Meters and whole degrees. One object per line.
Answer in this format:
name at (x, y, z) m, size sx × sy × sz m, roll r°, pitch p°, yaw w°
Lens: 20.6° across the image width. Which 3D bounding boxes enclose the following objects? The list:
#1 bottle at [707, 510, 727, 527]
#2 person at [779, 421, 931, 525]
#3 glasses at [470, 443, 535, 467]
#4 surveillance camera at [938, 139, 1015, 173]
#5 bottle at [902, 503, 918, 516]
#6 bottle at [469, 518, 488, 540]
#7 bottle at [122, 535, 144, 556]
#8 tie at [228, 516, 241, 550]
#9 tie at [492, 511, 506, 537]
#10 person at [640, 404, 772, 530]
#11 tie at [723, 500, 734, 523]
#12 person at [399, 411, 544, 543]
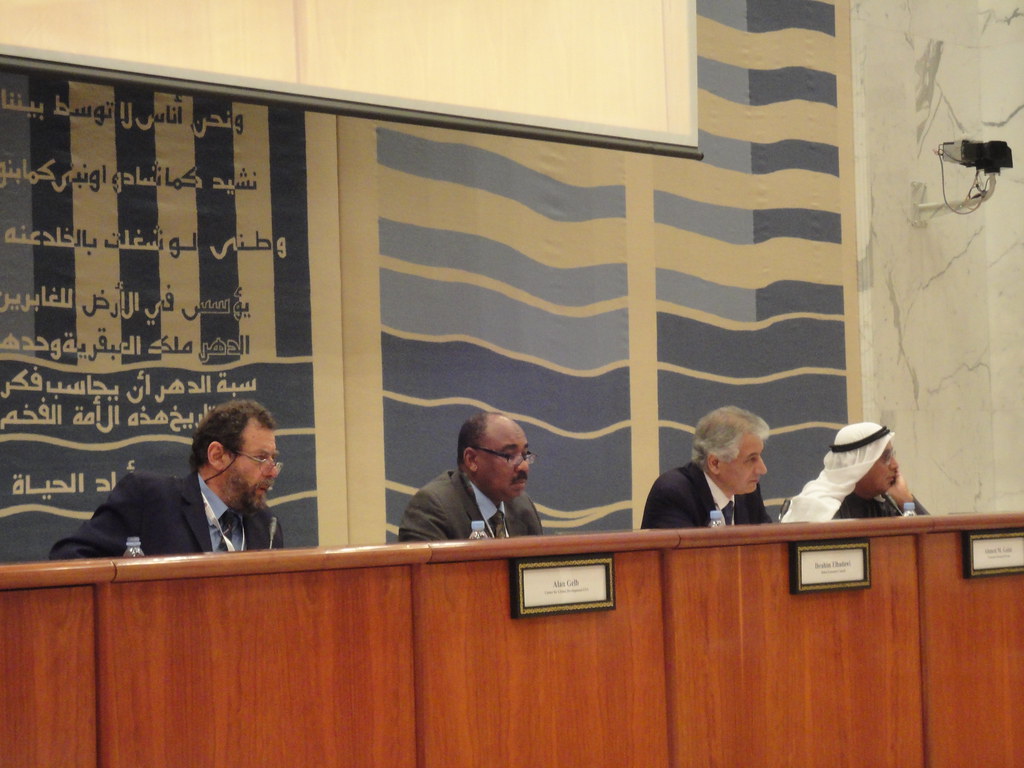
bottle at (0.930, 0.601, 12.695) m, size 0.070 × 0.098 × 0.097 m, roll -2°, pitch -13°, yaw 4°
person at (1.686, 0.415, 13.272) m, size 0.792 × 0.454 × 0.533 m, roll 4°, pitch -9°, yaw -44°
glasses at (-0.013, 0.311, 12.660) m, size 0.271 × 0.081 × 0.084 m, roll 1°, pitch -7°, yaw -28°
surveillance camera at (2.464, -1.184, 14.953) m, size 0.272 × 0.138 × 0.198 m, roll 2°, pitch -1°, yaw -4°
bottle at (1.846, 0.577, 13.038) m, size 0.076 × 0.085 × 0.078 m, roll 1°, pitch -4°, yaw -12°
bottle at (-0.142, 0.626, 12.269) m, size 0.071 × 0.138 × 0.078 m, roll -1°, pitch 2°, yaw 0°
bottle at (-1.644, 0.699, 12.251) m, size 0.082 × 0.086 × 0.079 m, roll 1°, pitch -6°, yaw 14°
tie at (-1.226, 0.662, 12.612) m, size 0.043 × 0.128 × 0.090 m, roll -6°, pitch 6°, yaw 0°
tie at (-0.052, 0.629, 12.757) m, size 0.079 × 0.109 × 0.039 m, roll -4°, pitch -3°, yaw -33°
person at (0.881, 0.406, 13.088) m, size 0.526 × 0.806 × 0.610 m, roll -5°, pitch -6°, yaw 37°
tie at (1.016, 0.596, 13.103) m, size 0.035 × 0.078 × 0.110 m, roll -1°, pitch -15°, yaw 6°
person at (-0.098, 0.477, 12.733) m, size 0.495 × 0.707 × 0.830 m, roll -9°, pitch -11°, yaw 37°
